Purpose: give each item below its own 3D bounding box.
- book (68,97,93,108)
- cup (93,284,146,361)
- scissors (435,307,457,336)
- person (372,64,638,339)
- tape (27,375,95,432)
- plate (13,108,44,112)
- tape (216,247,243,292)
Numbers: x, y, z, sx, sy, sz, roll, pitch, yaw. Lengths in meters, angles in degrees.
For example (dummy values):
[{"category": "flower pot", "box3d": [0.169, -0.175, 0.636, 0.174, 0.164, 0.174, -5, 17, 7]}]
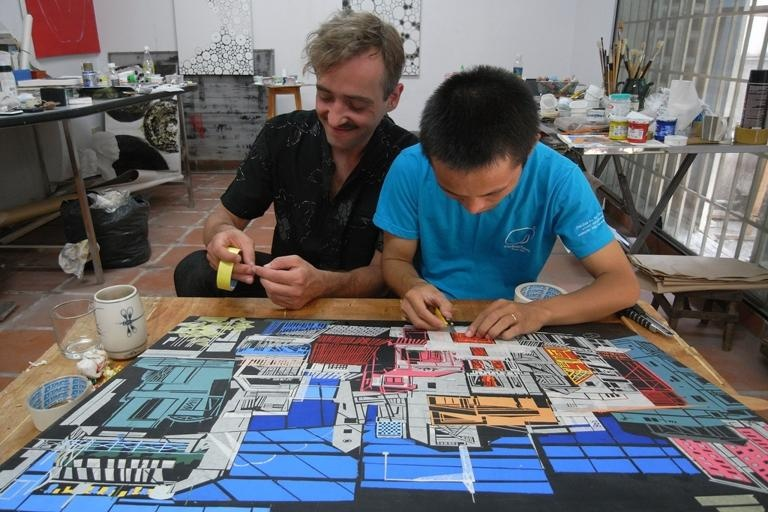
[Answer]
[{"category": "book", "box3d": [-1.999, -0.994, 2.849, 0.137, 0.053, 0.413, -13, 24, -31]}, {"category": "cup", "box3d": [-0.681, 0.179, 1.204, 0.170, 0.169, 0.163, 4, 14, -1]}, {"category": "scissors", "box3d": [0.177, 0.187, 1.255, 0.033, 0.024, 0.104, 8, 20, -27]}, {"category": "person", "box3d": [0.337, -0.075, 1.450, 0.821, 0.913, 0.620, -1, 62, -3]}, {"category": "tape", "box3d": [-0.745, 0.327, 1.004, 0.133, 0.043, 0.111, 2, 22, -1]}, {"category": "plate", "box3d": [-2.056, -0.830, 2.506, 0.123, 0.025, 0.146, -10, 23, -26]}, {"category": "tape", "box3d": [-0.518, 0.044, 1.416, 0.084, 0.149, 0.161, 4, 17, -14]}]
